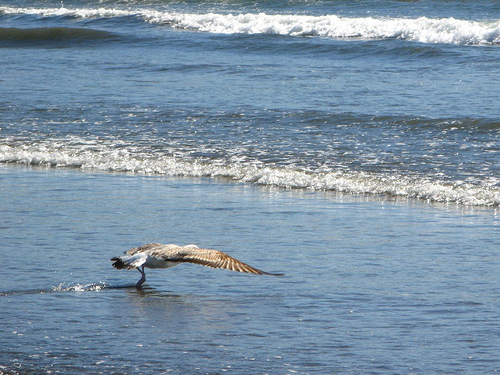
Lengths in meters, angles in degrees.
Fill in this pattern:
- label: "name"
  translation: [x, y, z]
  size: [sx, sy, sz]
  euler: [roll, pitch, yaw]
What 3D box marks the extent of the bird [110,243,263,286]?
- label: "bird"
  translation: [-1.118, 1.414, 22.430]
  size: [2.318, 0.835, 1.132]
  euler: [2, 9, 11]
